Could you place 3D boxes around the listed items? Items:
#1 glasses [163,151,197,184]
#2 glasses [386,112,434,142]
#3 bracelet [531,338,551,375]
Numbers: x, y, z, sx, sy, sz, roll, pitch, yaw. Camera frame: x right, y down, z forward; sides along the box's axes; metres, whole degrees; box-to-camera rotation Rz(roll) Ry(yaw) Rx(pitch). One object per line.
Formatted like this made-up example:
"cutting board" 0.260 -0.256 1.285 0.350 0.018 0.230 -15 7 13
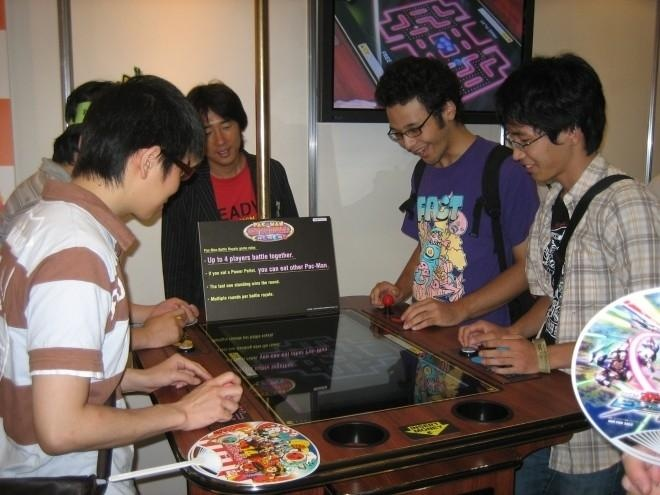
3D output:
"glasses" -0.418 -0.226 1.364 0.062 0.020 0.054 38 7 1
"glasses" 0.374 -0.534 2.141 0.135 0.041 0.130 -44 23 -23
"bracelet" 0.642 0.328 1.483 0.073 0.076 0.067 -4 -4 1
